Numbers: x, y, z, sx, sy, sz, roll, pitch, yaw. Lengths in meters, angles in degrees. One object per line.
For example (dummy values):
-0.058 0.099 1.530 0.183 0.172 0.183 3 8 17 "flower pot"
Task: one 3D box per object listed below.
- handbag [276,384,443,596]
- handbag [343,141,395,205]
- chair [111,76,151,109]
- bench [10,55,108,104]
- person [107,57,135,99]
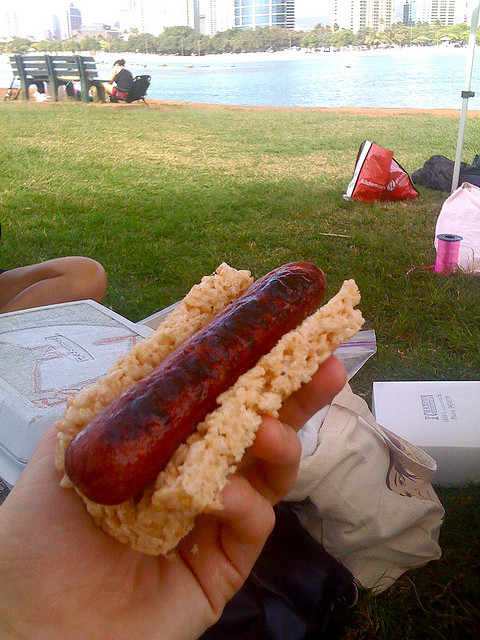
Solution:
0.340 0.514 1.370 0.560 0.305 0.476 22 38 -50 "handbag"
1.468 -1.620 5.503 0.602 0.738 0.177 15 4 -26 "handbag"
-2.043 -4.320 9.165 0.447 0.456 0.683 -24 41 -39 "chair"
-3.526 -4.624 9.343 1.712 0.784 0.683 8 23 14 "bench"
-2.265 -4.494 9.067 0.396 0.715 0.521 -21 58 -18 "person"
